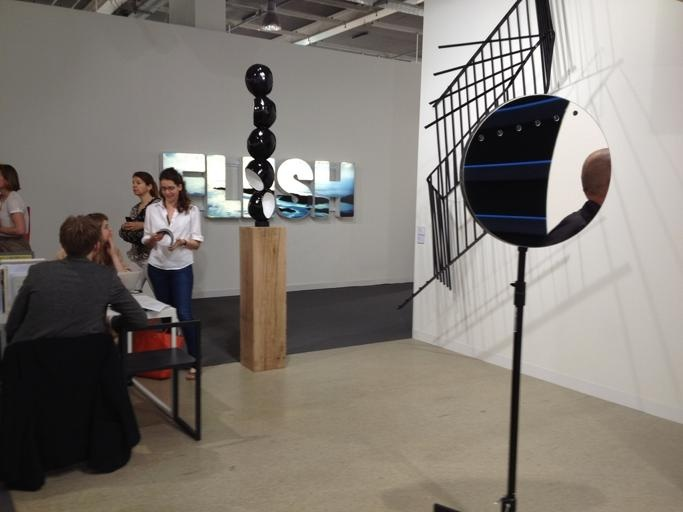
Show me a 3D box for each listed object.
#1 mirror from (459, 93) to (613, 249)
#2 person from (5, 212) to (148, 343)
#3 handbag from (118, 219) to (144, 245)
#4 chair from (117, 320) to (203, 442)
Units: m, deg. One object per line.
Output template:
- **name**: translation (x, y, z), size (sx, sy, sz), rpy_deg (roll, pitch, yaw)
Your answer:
- **mirror**: translation (0.923, -0.405, 2.462), size (0.680, 0.806, 0.069), rpy_deg (-3, -29, 24)
- **person**: translation (-1.959, 0.151, 3.873), size (0.729, 1.433, 0.690), rpy_deg (13, 24, -22)
- **handbag**: translation (-2.234, -0.268, 5.597), size (0.223, 0.316, 0.130), rpy_deg (-3, 50, -8)
- **chair**: translation (-1.378, 0.954, 3.957), size (0.516, 0.755, 0.731), rpy_deg (-5, 10, -32)
